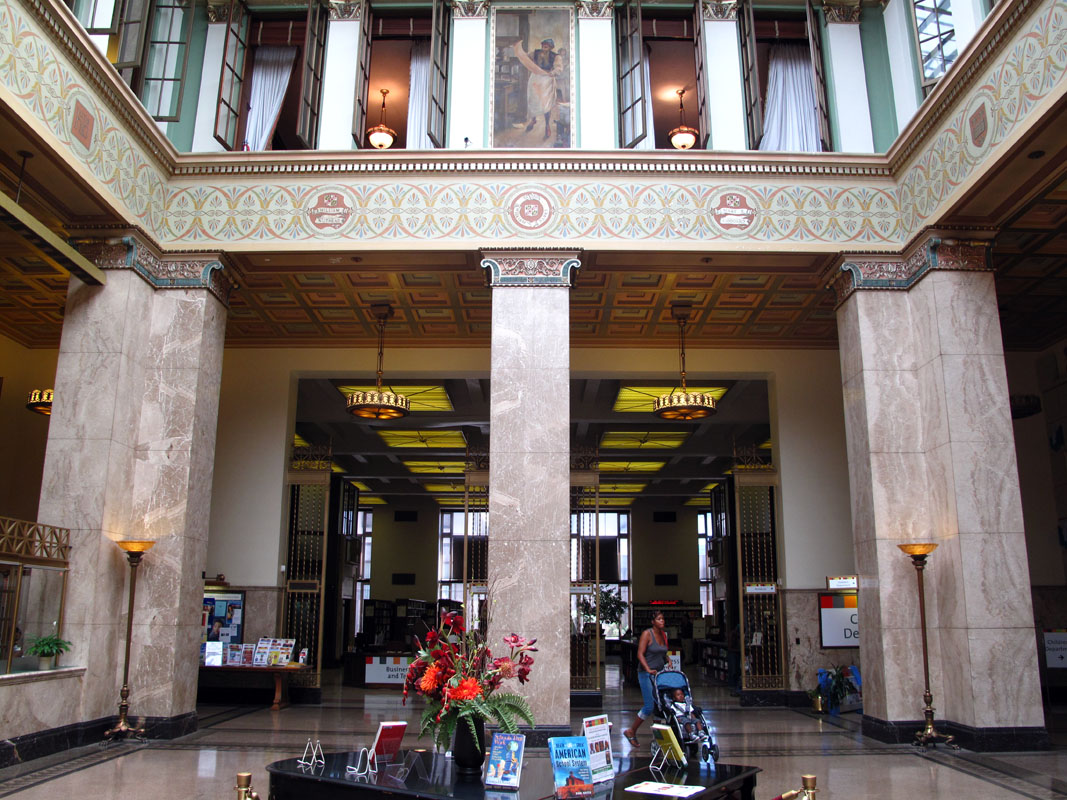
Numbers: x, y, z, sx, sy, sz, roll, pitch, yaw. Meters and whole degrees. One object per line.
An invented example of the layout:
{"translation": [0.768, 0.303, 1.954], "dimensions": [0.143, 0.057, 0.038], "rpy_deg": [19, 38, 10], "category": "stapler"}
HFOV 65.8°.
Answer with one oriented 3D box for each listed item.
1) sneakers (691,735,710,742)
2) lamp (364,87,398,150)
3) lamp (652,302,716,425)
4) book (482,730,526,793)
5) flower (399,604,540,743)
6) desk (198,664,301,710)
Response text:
{"translation": [1.829, 3.682, 8.979], "dimensions": [0.117, 0.052, 0.072], "rpy_deg": [5, -1, -38], "category": "sneakers"}
{"translation": [-2.417, -4.589, 13.342], "dimensions": [0.453, 1.255, 0.712], "rpy_deg": [3, -15, -12], "category": "lamp"}
{"translation": [2.690, -0.654, 14.779], "dimensions": [1.232, 2.267, 1.206], "rpy_deg": [19, -28, -34], "category": "lamp"}
{"translation": [-0.241, 2.902, 6.659], "dimensions": [0.311, 0.382, 0.550], "rpy_deg": [1, -15, -3], "category": "book"}
{"translation": [-0.652, 2.483, 6.964], "dimensions": [0.780, 0.815, 0.801], "rpy_deg": [13, -4, 34], "category": "flower"}
{"translation": [-4.936, 4.961, 14.359], "dimensions": [1.734, 0.731, 1.737], "rpy_deg": [5, -16, -17], "category": "desk"}
